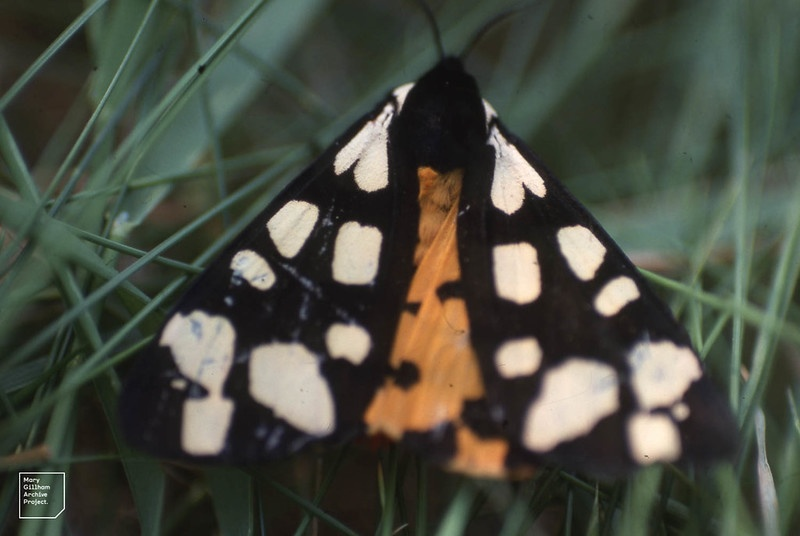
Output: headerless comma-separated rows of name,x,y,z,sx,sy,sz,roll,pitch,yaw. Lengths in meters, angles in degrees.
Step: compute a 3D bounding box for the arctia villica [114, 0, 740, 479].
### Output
arctia villica,0.015,-0.016,0.930,0.448,0.444,0.187,4,-3,9
